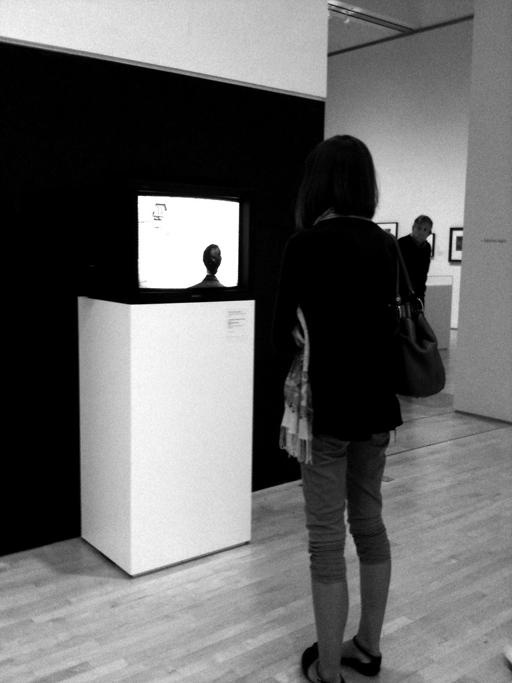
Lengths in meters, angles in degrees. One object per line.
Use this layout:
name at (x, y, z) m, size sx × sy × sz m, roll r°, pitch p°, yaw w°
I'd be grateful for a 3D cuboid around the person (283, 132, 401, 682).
person at (0.236, 0.211, 1.517) m, size 0.286 × 1.507 × 0.396 m, roll 2°, pitch 1°, yaw 42°
